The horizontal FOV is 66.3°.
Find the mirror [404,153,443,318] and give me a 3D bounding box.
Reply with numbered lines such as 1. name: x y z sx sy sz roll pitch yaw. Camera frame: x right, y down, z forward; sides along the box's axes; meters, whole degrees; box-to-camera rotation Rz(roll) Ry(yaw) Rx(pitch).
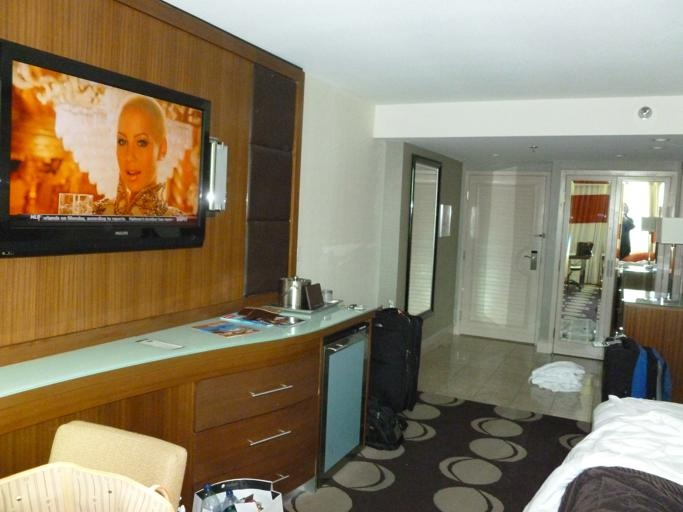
1. mirror: 0.870 -0.272 5.697 0.093 2.072 1.850 2 4 21

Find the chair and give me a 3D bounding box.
1. chair: -0.794 0.796 1.946 0.591 0.268 0.144 5 8 19

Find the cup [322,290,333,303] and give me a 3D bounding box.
1. cup: -0.100 0.293 3.764 0.078 0.076 0.076 -1 8 0

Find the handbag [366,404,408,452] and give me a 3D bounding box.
1. handbag: 0.328 1.288 3.889 0.297 0.111 0.221 7 13 32

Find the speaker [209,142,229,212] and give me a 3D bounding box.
1. speaker: -0.740 -0.488 3.181 0.060 0.438 0.196 4 8 13

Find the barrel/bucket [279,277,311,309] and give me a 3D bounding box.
1. barrel/bucket: -0.329 0.255 3.555 0.208 0.201 0.187 1 1 44
